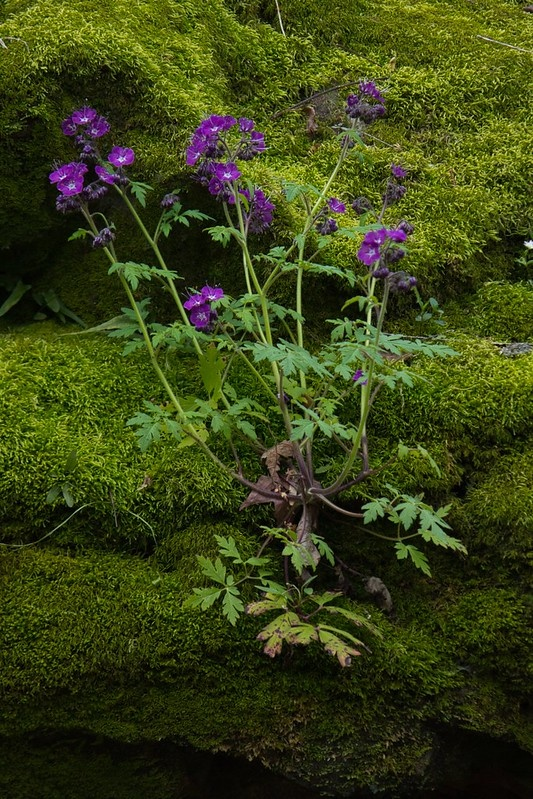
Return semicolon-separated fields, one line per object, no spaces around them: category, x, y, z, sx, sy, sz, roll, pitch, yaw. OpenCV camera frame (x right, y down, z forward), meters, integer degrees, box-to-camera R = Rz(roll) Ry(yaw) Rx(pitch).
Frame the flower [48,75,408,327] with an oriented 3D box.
flower;-0.267;-0.993;4.073;1.559;0.922;1.447;-19;32;-29
